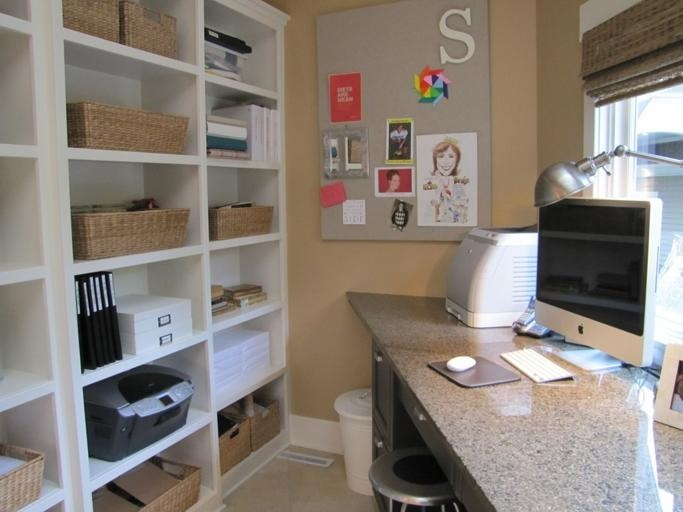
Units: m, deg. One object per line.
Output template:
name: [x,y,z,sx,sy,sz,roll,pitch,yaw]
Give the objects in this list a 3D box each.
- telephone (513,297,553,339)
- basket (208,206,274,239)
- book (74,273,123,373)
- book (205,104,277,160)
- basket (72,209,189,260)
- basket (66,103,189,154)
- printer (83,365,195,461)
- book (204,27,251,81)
telephone: [0.869,0.272,2.350,0.167,0.113,0.267,13,24,43]
basket: [-0.580,-0.194,2.933,0.149,0.161,0.486,10,11,28]
book: [-1.015,0.267,2.161,0.155,0.390,0.093,-8,11,-29]
book: [-0.562,-0.672,2.855,0.198,0.273,0.375,4,7,32]
basket: [-0.907,-0.124,2.242,0.224,0.131,0.341,5,9,33]
basket: [-0.917,-0.555,2.298,0.172,0.188,0.520,10,12,26]
printer: [-0.913,0.701,2.384,0.338,0.284,0.440,8,9,27]
book: [-0.626,-1.071,2.779,0.241,0.195,0.383,13,14,28]
